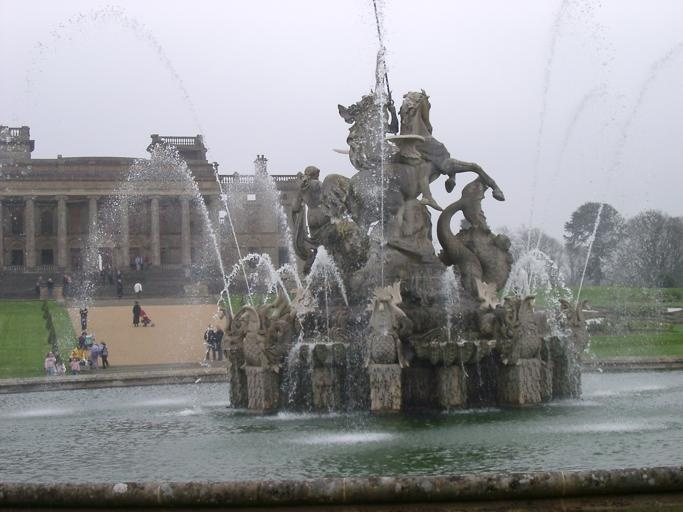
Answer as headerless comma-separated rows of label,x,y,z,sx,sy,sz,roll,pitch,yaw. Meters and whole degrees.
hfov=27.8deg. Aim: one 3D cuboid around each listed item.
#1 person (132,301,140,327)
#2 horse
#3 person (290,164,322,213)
person,-8.205,2.336,55.149,0.333,0.953,1.063,-2,-5,-9
horse,1.548,-2.519,33.371,3.128,3.004,0.910,-2,-5,0
person,-0.888,-1.640,34.286,0.654,1.097,0.609,-2,-5,-10
